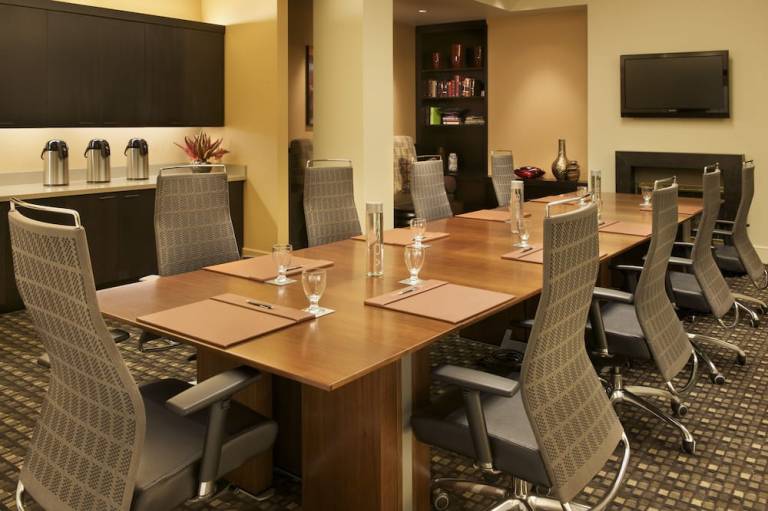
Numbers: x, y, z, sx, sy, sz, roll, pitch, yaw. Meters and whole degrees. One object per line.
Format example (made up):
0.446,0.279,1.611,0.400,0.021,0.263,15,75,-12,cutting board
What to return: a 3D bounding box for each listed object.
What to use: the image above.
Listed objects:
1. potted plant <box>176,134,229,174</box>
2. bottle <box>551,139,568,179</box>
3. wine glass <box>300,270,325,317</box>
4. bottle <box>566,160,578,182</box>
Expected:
-2.099,-1.187,6.116,0.612,0.476,0.622,1,-1,6,potted plant
2.666,-1.430,7.994,0.209,0.578,0.276,7,15,38,bottle
-0.304,0.136,2.350,0.091,0.198,0.283,-5,12,-8,wine glass
2.826,-1.251,7.969,0.142,0.311,0.216,5,14,33,bottle
